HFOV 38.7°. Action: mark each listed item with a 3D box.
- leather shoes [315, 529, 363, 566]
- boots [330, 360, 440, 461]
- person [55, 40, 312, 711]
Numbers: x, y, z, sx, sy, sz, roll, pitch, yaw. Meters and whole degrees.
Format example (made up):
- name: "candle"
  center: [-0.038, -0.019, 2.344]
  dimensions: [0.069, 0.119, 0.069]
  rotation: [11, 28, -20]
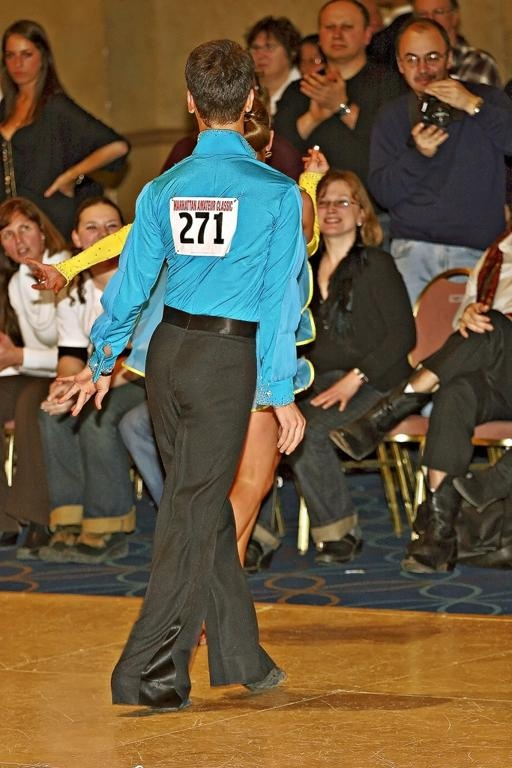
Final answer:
- name: "leather shoes"
  center: [0.321, 0.660, 2.907]
  dimensions: [0.102, 0.059, 0.173]
  rotation: [1, 0, 35]
- name: "boots"
  center: [0.515, 0.088, 2.952]
  dimensions: [0.498, 0.203, 0.148]
  rotation: [-33, 56, -18]
- name: "person"
  center: [-0.126, -0.026, 1.534]
  dimensions: [0.547, 1.232, 0.477]
  rotation: [4, 6, 26]
